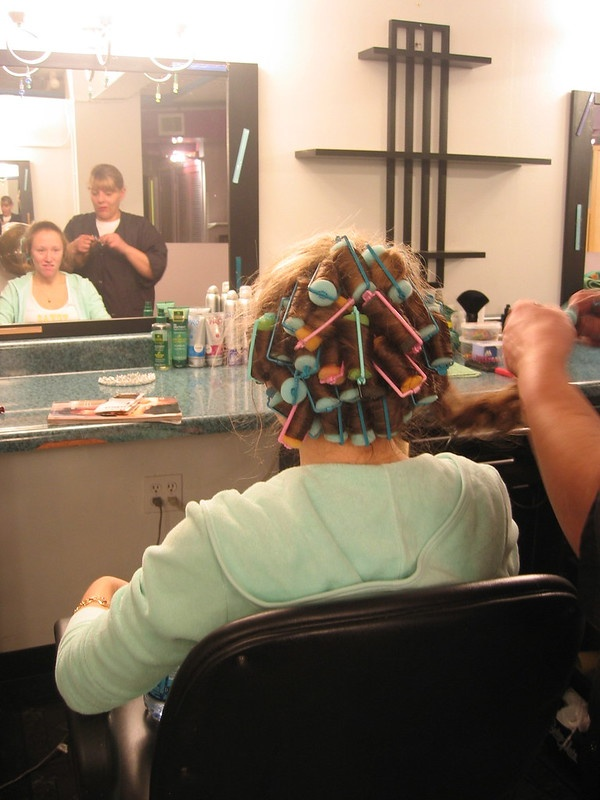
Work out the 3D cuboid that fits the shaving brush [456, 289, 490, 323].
[{"bbox_3d":[0.582,-0.320,2.246,0.119,0.137,0.114,-2,9,-15],"label":"shaving brush"}]
